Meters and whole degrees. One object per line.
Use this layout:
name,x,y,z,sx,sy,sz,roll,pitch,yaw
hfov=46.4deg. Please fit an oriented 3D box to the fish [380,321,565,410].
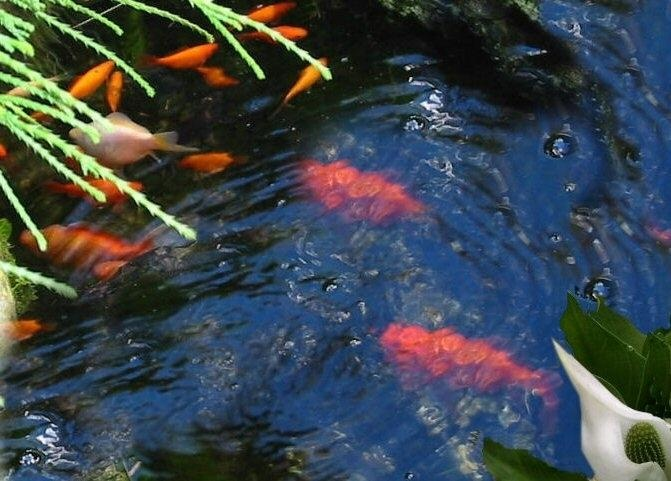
fish,0.307,0.281,1.875,0.506,0.139,0.150,15,67,16

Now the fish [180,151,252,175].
fish,-0.333,-0.208,2.094,0.233,0.063,0.098,0,93,1
